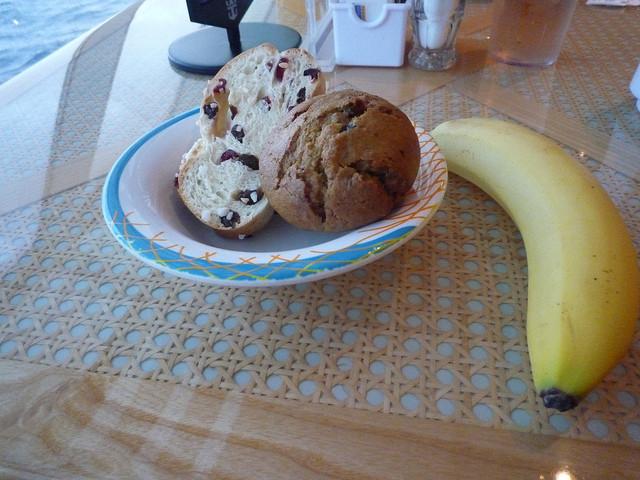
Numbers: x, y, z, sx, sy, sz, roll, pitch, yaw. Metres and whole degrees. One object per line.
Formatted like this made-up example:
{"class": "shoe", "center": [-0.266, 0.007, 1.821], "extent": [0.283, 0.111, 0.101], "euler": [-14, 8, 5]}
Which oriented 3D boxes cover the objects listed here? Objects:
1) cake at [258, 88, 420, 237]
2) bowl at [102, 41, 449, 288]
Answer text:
{"class": "cake", "center": [0.037, -0.137, 0.914], "extent": [0.283, 0.188, 0.263], "euler": [5, 56, 10]}
{"class": "bowl", "center": [-0.063, -0.073, 0.995], "extent": [0.575, 0.177, 0.542], "euler": [2, 56, -2]}
